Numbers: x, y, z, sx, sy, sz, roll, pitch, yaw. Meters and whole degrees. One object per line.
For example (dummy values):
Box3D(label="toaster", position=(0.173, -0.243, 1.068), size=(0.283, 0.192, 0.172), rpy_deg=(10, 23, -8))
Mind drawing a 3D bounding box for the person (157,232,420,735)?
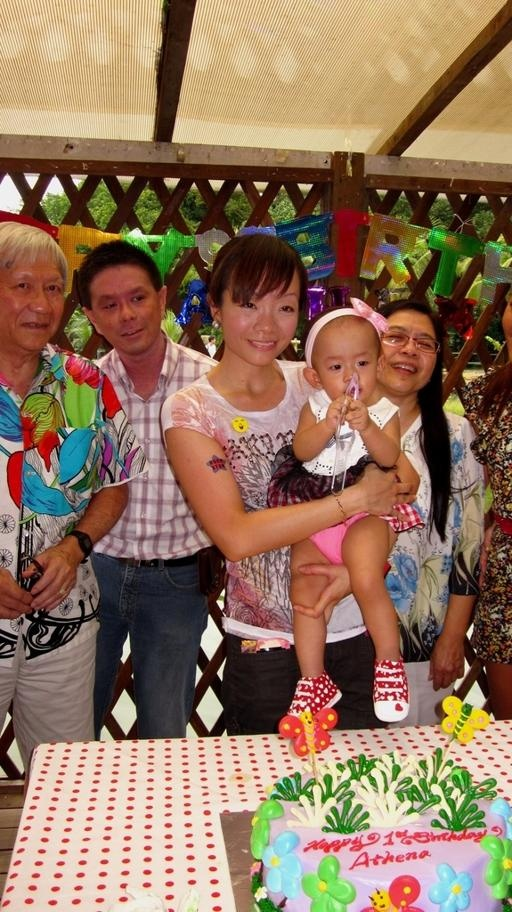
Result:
Box3D(label="person", position=(0.073, 0.111, 1.326), size=(0.553, 1.151, 0.467), rpy_deg=(10, 20, 16))

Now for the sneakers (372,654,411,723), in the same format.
Box3D(label="sneakers", position=(0.263, 0.452, 1.131), size=(0.050, 0.062, 0.154), rpy_deg=(-2, 10, 6))

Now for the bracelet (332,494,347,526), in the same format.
Box3D(label="bracelet", position=(0.174, 0.110, 1.210), size=(0.025, 0.058, 0.035), rpy_deg=(20, 24, 38))
